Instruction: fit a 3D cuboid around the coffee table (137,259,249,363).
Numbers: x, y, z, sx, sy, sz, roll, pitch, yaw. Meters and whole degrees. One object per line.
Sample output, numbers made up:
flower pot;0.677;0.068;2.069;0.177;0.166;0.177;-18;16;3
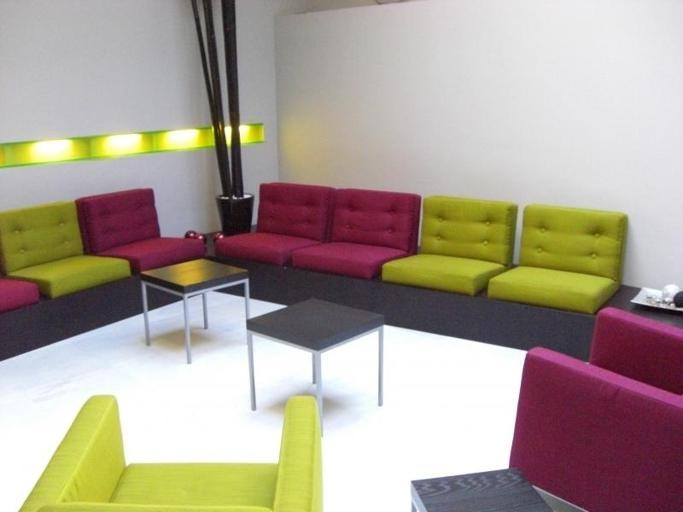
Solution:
coffee table;-1.274;0.437;4.481;0.765;0.634;0.795;-14;20;-38

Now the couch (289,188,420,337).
couch;0.126;-0.262;5.248;1.114;0.784;0.947;8;14;36

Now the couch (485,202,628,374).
couch;1.854;0.028;4.435;1.077;0.767;1.071;-12;17;-30

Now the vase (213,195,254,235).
vase;-1.245;-0.496;6.213;0.445;0.517;0.434;2;6;29

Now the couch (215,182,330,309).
couch;-0.731;-0.291;5.680;1.167;0.909;1.061;6;13;25
